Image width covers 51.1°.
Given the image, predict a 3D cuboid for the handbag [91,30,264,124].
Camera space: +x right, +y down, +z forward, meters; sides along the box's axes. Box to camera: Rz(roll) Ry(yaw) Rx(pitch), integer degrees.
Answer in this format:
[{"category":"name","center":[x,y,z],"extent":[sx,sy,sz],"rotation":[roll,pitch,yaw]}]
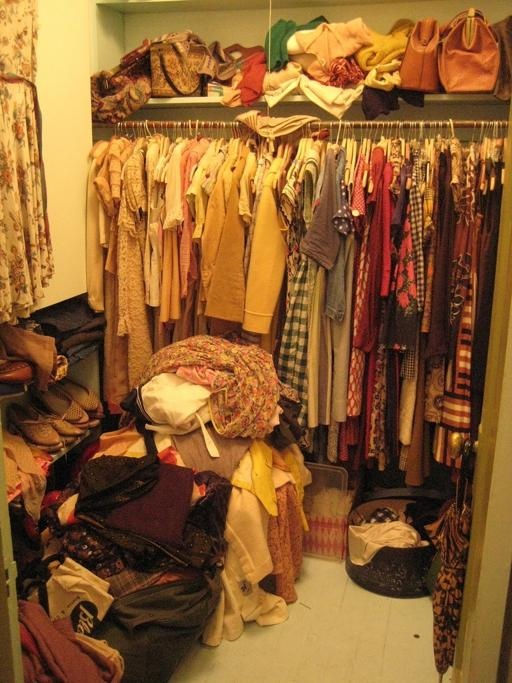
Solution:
[{"category":"handbag","center":[-0.370,-1.146,2.311],"extent":[0.544,0.224,0.444],"rotation":[-3,17,8]}]

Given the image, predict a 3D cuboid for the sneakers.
[{"category":"sneakers","center":[-0.815,0.300,2.138],"extent":[0.291,0.099,0.229],"rotation":[28,34,14]}]
